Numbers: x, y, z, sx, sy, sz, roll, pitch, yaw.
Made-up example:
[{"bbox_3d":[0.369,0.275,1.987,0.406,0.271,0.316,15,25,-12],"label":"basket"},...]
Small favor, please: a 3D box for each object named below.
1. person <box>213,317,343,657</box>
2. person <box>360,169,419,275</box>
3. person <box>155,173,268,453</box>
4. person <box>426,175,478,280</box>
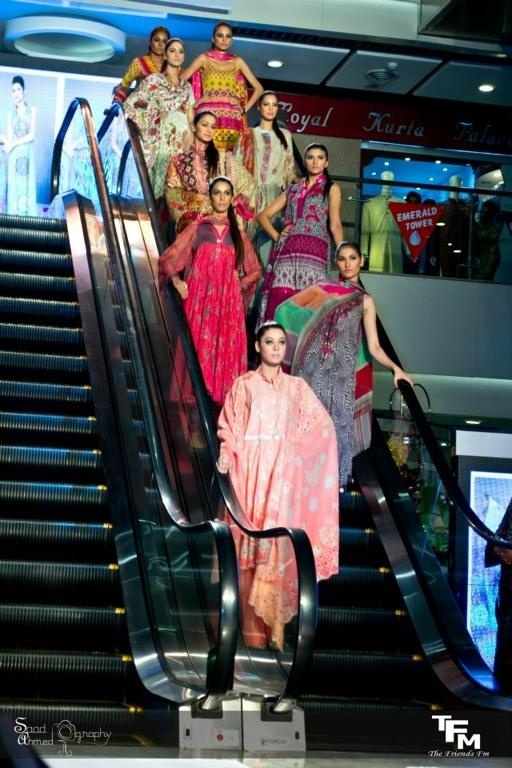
[{"bbox_3d":[0.104,0.563,3.277,0.700,1.678,1.298,-1,12,7],"label":"person"},{"bbox_3d":[1.751,-1.918,7.874,0.605,2.083,0.340,2,-12,9],"label":"person"},{"bbox_3d":[-0.385,-0.695,4.938,0.860,2.163,0.523,3,-13,-7],"label":"person"},{"bbox_3d":[2.688,-2.060,8.027,0.656,1.189,0.408,-1,11,5],"label":"person"}]
